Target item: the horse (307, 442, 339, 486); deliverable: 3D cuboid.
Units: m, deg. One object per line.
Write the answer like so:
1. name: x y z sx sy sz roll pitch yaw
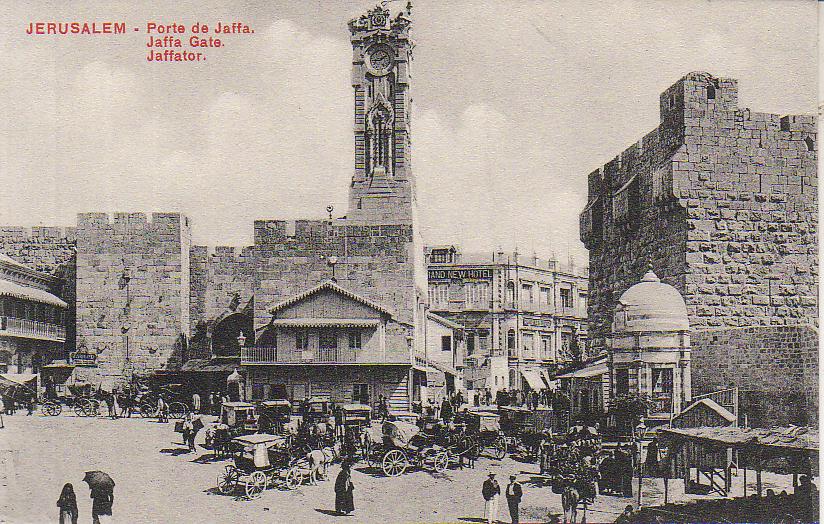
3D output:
1. horse: -2.620 5.948 44.759 0.504 1.115 1.196 -5 -13 28

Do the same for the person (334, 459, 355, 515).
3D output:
1. person: -1.933 6.534 44.121 0.592 1.548 1.105 2 -12 -3

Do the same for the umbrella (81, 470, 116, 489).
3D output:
1. umbrella: -9.164 6.358 44.607 0.844 0.551 1.063 4 -11 -13
